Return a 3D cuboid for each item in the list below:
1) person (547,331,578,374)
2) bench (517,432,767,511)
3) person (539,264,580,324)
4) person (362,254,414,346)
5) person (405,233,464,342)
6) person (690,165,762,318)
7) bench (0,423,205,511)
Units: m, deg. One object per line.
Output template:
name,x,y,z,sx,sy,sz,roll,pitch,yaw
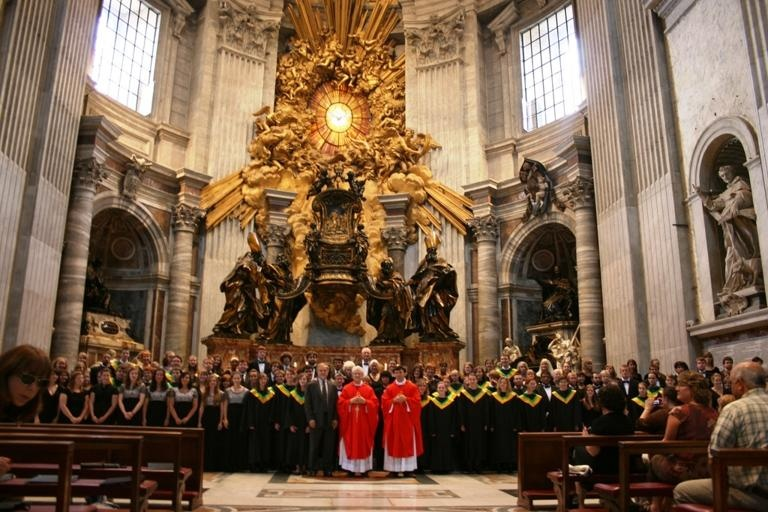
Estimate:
person,4.754,2.648,17.013,0.798,1.188,0.436,-11,-10,-1
bench,2.514,2.677,7.952,1.038,0.964,2.538,4,-16,-19
person,5.029,1.100,18.241,1.158,1.895,0.644,-18,-37,40
person,0.130,1.169,16.347,1.271,2.192,0.620,-5,-16,11
person,1.202,0.904,16.024,1.179,2.464,0.589,-2,-16,1
person,6.755,-0.316,12.393,0.430,2.860,1.135,3,-16,-16
bench,-3.199,2.646,8.017,1.970,1.094,1.112,5,-17,-23
